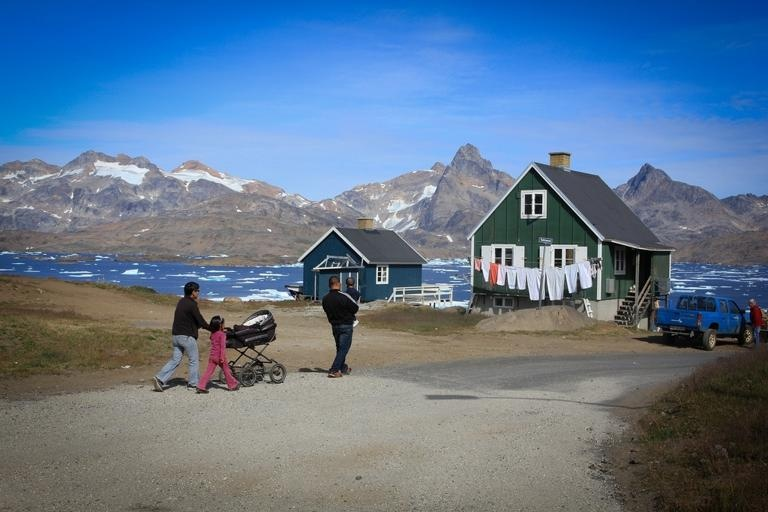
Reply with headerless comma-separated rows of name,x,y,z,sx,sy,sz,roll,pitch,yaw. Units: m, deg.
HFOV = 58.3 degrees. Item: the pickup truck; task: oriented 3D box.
pickup truck,14.845,3.019,31.548,4.372,2.560,1.843,3,0,-34
